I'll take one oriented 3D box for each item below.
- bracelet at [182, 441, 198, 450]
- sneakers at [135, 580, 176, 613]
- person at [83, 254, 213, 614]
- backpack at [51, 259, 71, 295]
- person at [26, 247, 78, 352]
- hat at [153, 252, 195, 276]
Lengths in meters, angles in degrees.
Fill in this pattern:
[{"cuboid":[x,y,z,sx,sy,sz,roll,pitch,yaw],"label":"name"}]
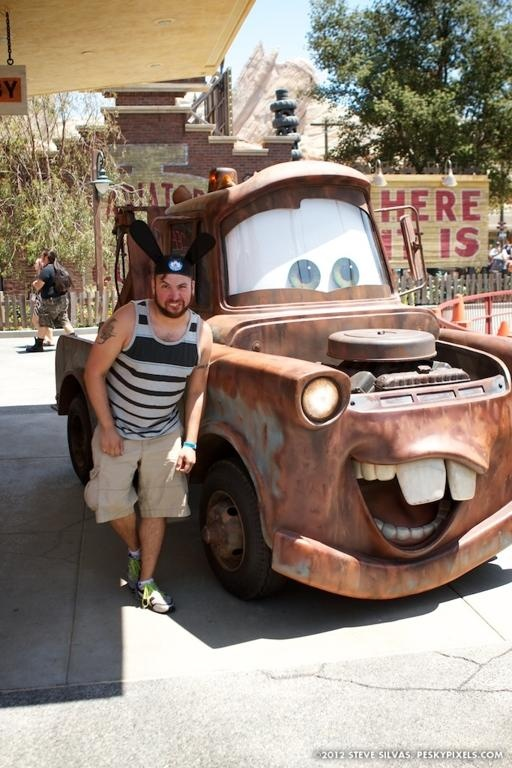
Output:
[{"cuboid":[-0.319,0.283,2.879,0.056,0.029,0.058,6,5,17],"label":"bracelet"},{"cuboid":[-0.489,1.026,2.936,0.105,0.083,0.182,-4,6,-35],"label":"sneakers"},{"cuboid":[-0.527,0.244,2.892,0.620,1.678,0.458,0,4,-3],"label":"person"},{"cuboid":[-3.999,-2.193,12.364,0.290,0.695,0.695,-1,4,-15],"label":"backpack"},{"cuboid":[-4.305,-1.708,12.459,0.908,2.046,1.406,-2,4,-21],"label":"person"},{"cuboid":[-0.382,-0.556,2.785,0.170,0.120,0.230,-1,4,-10],"label":"hat"}]
